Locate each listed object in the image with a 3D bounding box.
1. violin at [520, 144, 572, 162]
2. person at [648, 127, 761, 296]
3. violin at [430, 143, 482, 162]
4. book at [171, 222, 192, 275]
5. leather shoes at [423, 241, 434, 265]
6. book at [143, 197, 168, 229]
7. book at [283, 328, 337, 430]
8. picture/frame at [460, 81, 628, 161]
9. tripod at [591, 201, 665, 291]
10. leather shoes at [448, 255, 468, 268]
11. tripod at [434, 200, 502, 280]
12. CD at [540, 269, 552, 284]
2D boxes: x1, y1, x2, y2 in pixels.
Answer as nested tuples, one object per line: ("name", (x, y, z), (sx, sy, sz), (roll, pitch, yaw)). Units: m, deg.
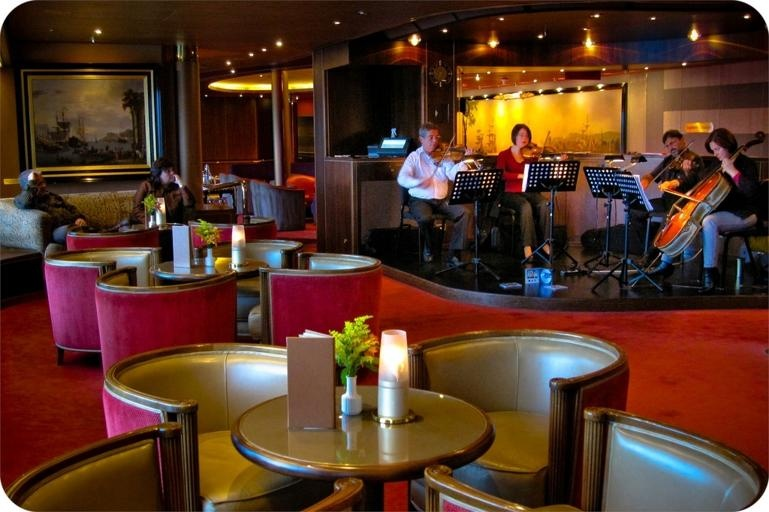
("violin", (2.116, -1.390, 8.546), (0.806, 0.198, 0.415), (2, 4, 24))
("person", (3.516, -0.594, 6.795), (0.738, 2.013, 0.962), (10, 18, 5))
("violin", (1.014, -1.349, 8.392), (0.429, 0.238, 0.812), (5, 9, 33))
("book", (-1.704, -0.071, 5.337), (0.209, 0.390, 0.144), (1, -6, -24))
("leather shoes", (0.584, -0.033, 8.485), (0.154, 0.236, 0.244), (0, 13, 1))
("book", (-2.886, -0.543, 7.874), (0.304, 0.431, 0.296), (-4, 11, -20))
("book", (-0.319, 0.555, 2.759), (0.215, 0.405, 0.115), (-3, 14, -7))
("picture/frame", (2.681, -2.248, 10.388), (1.985, 1.025, 0.090), (0, -2, 11))
("tripod", (2.907, -0.164, 7.380), (0.750, 0.949, 0.816), (11, 20, -11))
("leather shoes", (0.959, 0.082, 8.011), (0.120, 0.131, 0.319), (-3, 1, -24))
("tripod", (1.181, -0.245, 7.601), (0.792, 0.985, 0.812), (-3, 4, -43))
("CD", (1.803, 0.234, 7.001), (0.145, 0.140, 0.047), (10, 3, 29))
